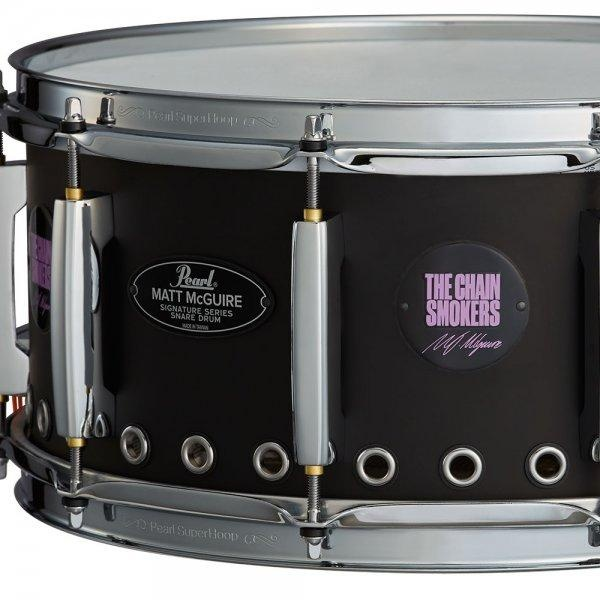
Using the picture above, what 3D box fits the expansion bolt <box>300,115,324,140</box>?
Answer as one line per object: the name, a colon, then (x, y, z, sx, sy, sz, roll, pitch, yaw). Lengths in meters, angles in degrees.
expansion bolt: (0.035, -0.410, 1.797, 0.049, 0.097, 0.052, 8, -60, 0)
